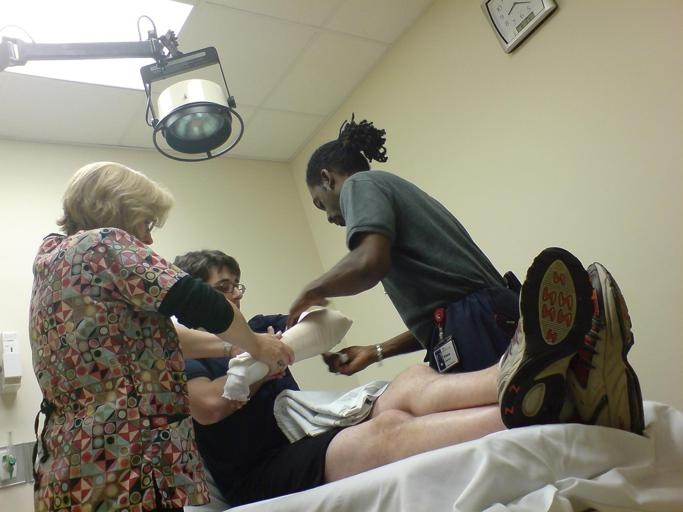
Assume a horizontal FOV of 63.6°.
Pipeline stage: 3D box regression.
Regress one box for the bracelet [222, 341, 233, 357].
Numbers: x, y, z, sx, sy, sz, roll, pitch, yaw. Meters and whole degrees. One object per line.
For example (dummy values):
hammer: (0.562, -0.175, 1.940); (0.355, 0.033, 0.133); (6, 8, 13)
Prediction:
bracelet: (-0.415, 0.345, 2.027); (0.040, 0.057, 0.057); (0, -27, -7)
